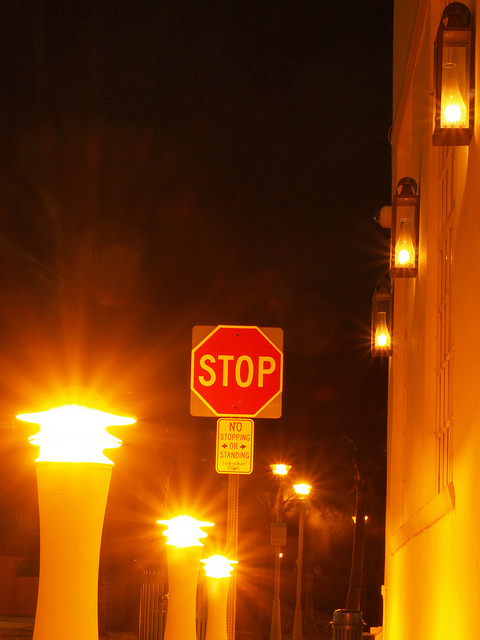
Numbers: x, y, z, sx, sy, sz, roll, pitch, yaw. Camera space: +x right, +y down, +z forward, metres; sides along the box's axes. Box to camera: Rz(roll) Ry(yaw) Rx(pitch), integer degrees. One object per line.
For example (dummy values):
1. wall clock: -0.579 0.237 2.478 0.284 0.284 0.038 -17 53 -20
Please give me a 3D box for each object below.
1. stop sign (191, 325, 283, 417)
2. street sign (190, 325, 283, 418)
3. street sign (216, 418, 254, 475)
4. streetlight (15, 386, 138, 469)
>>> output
1. stop sign: -0.019 0.365 6.633 0.403 0.562 0.033 3 -6 1
2. street sign: -0.019 0.366 6.632 0.404 0.563 0.034 4 -6 0
3. street sign: -0.044 0.852 6.755 0.266 0.050 0.534 0 -54 -3
4. streetlight: -0.468 0.262 2.656 0.204 0.180 0.202 6 -7 -42
